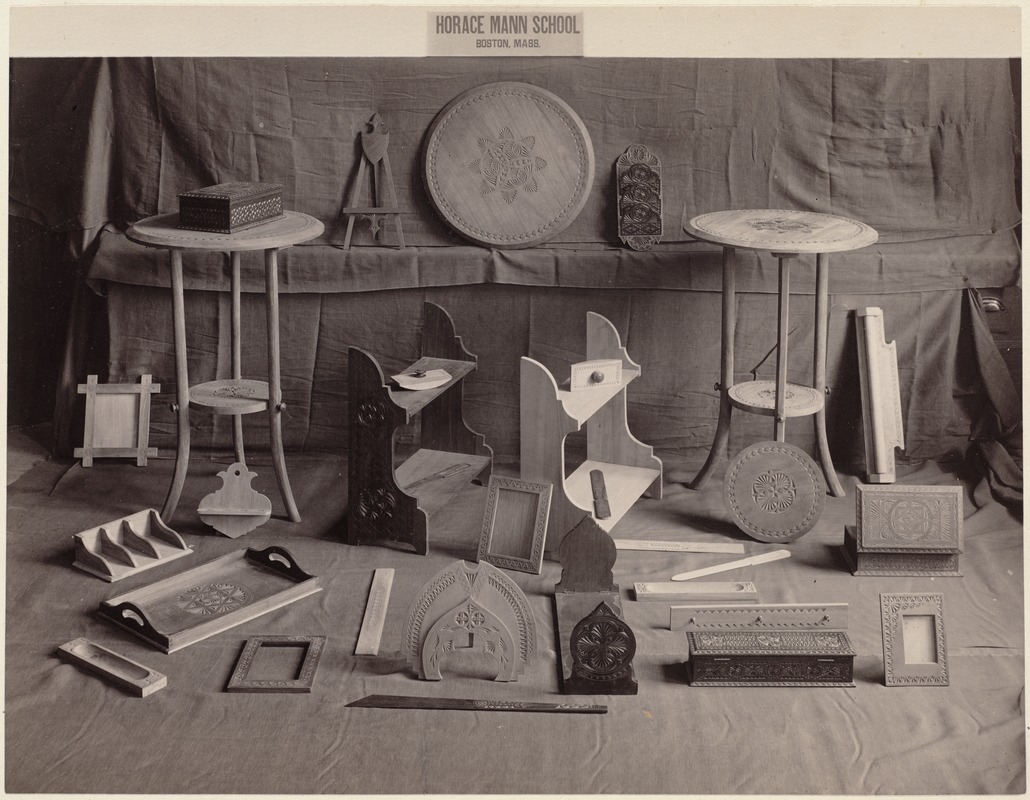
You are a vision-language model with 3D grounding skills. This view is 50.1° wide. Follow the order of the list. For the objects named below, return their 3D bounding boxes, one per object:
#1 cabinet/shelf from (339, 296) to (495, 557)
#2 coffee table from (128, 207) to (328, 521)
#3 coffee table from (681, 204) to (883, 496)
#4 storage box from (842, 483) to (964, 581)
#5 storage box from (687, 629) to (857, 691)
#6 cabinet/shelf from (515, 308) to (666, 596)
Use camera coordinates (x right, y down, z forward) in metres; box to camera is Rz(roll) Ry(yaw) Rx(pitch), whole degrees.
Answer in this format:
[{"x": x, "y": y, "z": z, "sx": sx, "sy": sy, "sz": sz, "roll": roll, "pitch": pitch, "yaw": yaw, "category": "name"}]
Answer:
[{"x": -0.588, "y": 0.157, "z": 6.747, "sx": 0.500, "sy": 1.216, "sz": 1.300, "roll": 2, "pitch": 16, "yaw": 11, "category": "cabinet/shelf"}, {"x": -1.732, "y": -0.226, "z": 6.670, "sx": 1.045, "sy": 1.890, "sz": 1.369, "roll": 0, "pitch": 3, "yaw": -18, "category": "coffee table"}, {"x": 1.619, "y": -0.302, "z": 6.794, "sx": 1.074, "sy": 1.814, "sz": 1.234, "roll": 1, "pitch": 3, "yaw": 17, "category": "coffee table"}, {"x": 2.152, "y": 0.720, "z": 6.034, "sx": 0.527, "sy": 0.387, "sz": 0.529, "roll": 0, "pitch": 4, "yaw": 5, "category": "storage box"}, {"x": 1.204, "y": 1.216, "z": 5.185, "sx": 0.762, "sy": 0.266, "sz": 0.095, "roll": 1, "pitch": 3, "yaw": 0, "category": "storage box"}, {"x": 0.472, "y": 0.249, "z": 6.483, "sx": 0.498, "sy": 0.978, "sz": 1.046, "roll": 2, "pitch": 14, "yaw": 21, "category": "cabinet/shelf"}]
